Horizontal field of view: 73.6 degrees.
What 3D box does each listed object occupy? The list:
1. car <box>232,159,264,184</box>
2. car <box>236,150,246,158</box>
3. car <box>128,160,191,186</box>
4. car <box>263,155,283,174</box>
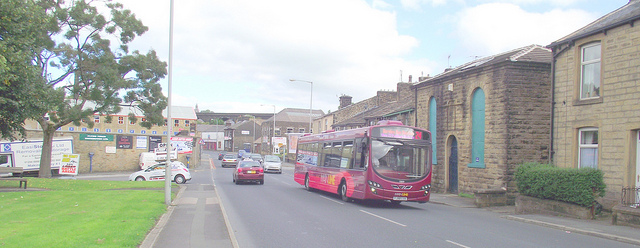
[{"bbox_3d":[-9.438,6.344,56.314,4.079,2.306,7.157,0,0,-8],"label":"car"},{"bbox_3d":[-18.835,7.098,102.661,2.155,1.218,4.296,1,-8,-13],"label":"car"},{"bbox_3d":[-21.723,6.600,57.559,8.538,2.046,3.436,1,-5,1],"label":"car"},{"bbox_3d":[-8.084,7.037,73.187,2.871,2.150,4.419,-1,11,-10],"label":"car"}]
